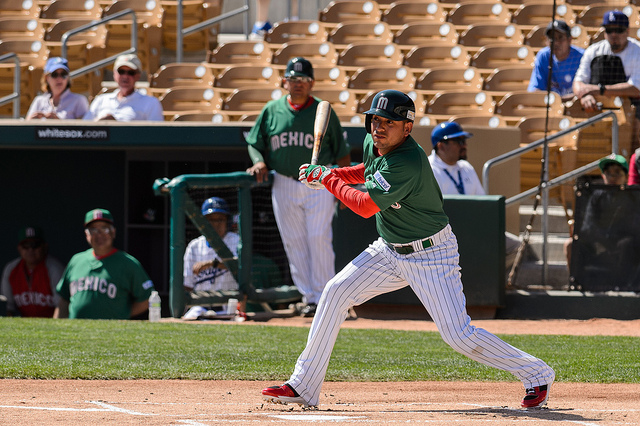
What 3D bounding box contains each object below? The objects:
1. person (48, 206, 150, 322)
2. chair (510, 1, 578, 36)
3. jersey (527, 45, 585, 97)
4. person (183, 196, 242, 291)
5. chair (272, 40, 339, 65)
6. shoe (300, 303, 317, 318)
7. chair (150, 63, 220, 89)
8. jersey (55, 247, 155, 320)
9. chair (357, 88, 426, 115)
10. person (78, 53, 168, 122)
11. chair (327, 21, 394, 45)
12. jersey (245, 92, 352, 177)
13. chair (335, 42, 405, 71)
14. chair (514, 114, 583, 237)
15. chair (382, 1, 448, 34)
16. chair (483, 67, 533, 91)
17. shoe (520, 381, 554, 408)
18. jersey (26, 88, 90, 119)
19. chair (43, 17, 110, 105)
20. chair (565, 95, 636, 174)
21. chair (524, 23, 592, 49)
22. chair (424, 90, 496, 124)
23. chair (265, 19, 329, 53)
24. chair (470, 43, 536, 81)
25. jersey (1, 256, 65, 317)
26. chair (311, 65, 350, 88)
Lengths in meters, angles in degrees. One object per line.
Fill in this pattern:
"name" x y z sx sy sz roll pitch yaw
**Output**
"person" -2.599 0.595 16.757 1.217 1.642 0.729 -5 -19 16
"chair" 3.295 -2.947 21.408 0.828 0.724 0.609 0 -2 3
"jersey" 2.871 -1.702 17.415 1.009 0.684 0.311 1 10 10
"person" -1.234 0.333 16.536 0.672 1.056 0.381 0 0 -6
"chair" -0.198 -2.236 20.160 0.972 0.328 0.278 0 0 1
"shoe" -0.135 1.082 16.456 0.083 0.166 0.279 0 -1 -42
"chair" -1.829 -1.866 19.620 0.640 0.214 0.465 -4 5 2
"jersey" -2.446 0.838 16.295 1.276 0.901 0.529 3 7 19
"chair" 0.945 -1.492 19.064 0.939 0.413 0.864 0 -1 -6
"person" -2.318 -1.474 17.301 1.075 0.827 0.559 6 -8 16
"chair" 0.602 -2.649 21.103 1.335 0.411 0.308 -1 5 2
"jersey" -0.232 -0.909 16.382 1.297 0.875 0.496 4 10 17
"chair" 0.717 -2.247 20.467 0.907 0.352 0.454 -1 -3 0
"chair" 2.751 -0.134 16.675 0.817 0.973 0.757 2 37 15
"chair" 1.420 -3.027 21.765 0.820 0.579 0.754 1 -17 4
"chair" 2.540 -1.834 19.549 0.463 0.482 0.400 3 0 4
"shoe" 2.043 1.687 13.658 0.274 0.243 0.167 0 -1 -9
"jersey" -3.144 -1.291 17.357 0.754 0.532 0.373 0 -1 1
"chair" -3.532 -2.220 20.261 0.736 0.699 1.018 2 -43 -8
"chair" 3.355 -0.941 17.091 1.135 1.033 0.827 0 -3 3
"chair" 3.402 -2.527 20.641 0.912 0.350 0.473 -3 10 19
"chair" 1.878 -1.533 19.427 0.924 0.403 1.170 -9 9 3
"chair" -0.325 -2.411 21.257 0.798 0.708 0.534 1 30 -2
"chair" 2.581 -2.180 20.255 0.654 0.767 0.646 -1 2 4
"jersey" -3.360 0.853 16.956 0.731 0.553 0.253 3 -12 4
"chair" 0.160 -1.874 19.743 0.495 0.346 0.436 0 -1 2
